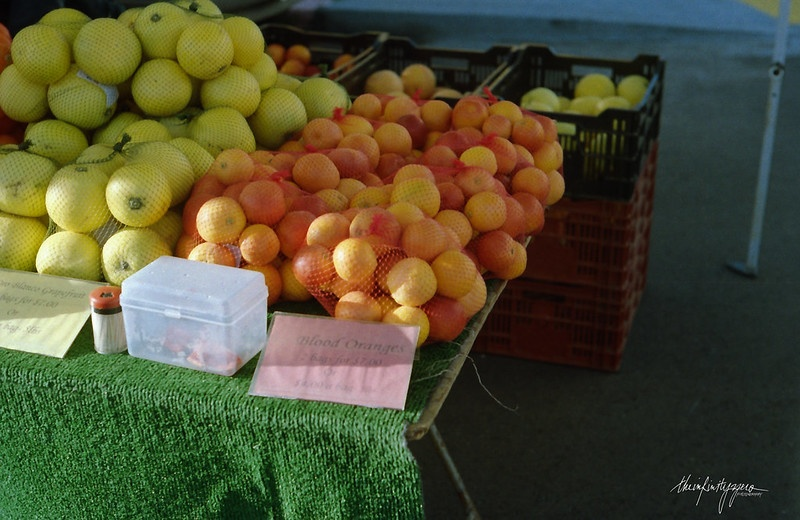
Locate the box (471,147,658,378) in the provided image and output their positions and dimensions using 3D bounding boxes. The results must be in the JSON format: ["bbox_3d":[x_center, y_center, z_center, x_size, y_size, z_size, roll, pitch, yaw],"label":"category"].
[{"bbox_3d":[0.643,0.013,3.218,0.869,0.600,0.928,-3,25,5],"label":"box"}]

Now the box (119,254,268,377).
[{"bbox_3d":[-0.503,0.134,1.759,0.371,0.247,0.263,11,30,16],"label":"box"}]

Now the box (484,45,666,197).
[{"bbox_3d":[0.907,-0.630,3.308,0.689,0.433,1.000,7,31,13],"label":"box"}]

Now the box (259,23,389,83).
[{"bbox_3d":[-0.469,-1.294,4.185,0.670,0.327,0.694,21,18,26],"label":"box"}]
